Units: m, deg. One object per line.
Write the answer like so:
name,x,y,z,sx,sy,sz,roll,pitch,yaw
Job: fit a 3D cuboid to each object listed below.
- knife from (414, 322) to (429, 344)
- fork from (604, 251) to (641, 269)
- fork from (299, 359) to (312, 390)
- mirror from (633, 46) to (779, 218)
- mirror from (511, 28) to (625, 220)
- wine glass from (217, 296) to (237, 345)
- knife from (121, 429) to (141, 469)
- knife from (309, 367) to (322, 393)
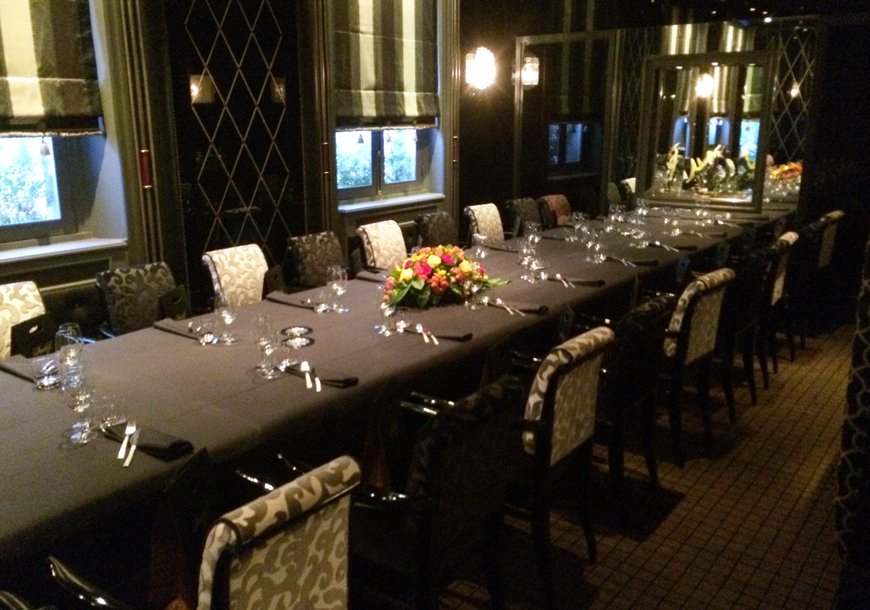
knife,-0.065,0.143,3.227,0.036,0.026,0.161,-12,19,-4
fork,1.375,-0.332,4.566,0.078,0.057,0.303,-30,23,-10
fork,-0.574,0.306,2.739,0.045,0.150,0.058,-16,-22,-1
mirror,2.856,-1.797,6.380,1.596,2.014,0.133,13,18,42
mirror,1.689,-2.247,7.394,0.970,1.966,0.094,12,40,30
wine glass,-1.089,0.080,3.285,0.087,0.228,0.086,3,8,-5
knife,-1.114,0.502,2.253,0.056,0.012,0.229,8,33,-24
knife,-0.524,0.328,2.707,0.044,0.031,0.200,-3,12,-10
